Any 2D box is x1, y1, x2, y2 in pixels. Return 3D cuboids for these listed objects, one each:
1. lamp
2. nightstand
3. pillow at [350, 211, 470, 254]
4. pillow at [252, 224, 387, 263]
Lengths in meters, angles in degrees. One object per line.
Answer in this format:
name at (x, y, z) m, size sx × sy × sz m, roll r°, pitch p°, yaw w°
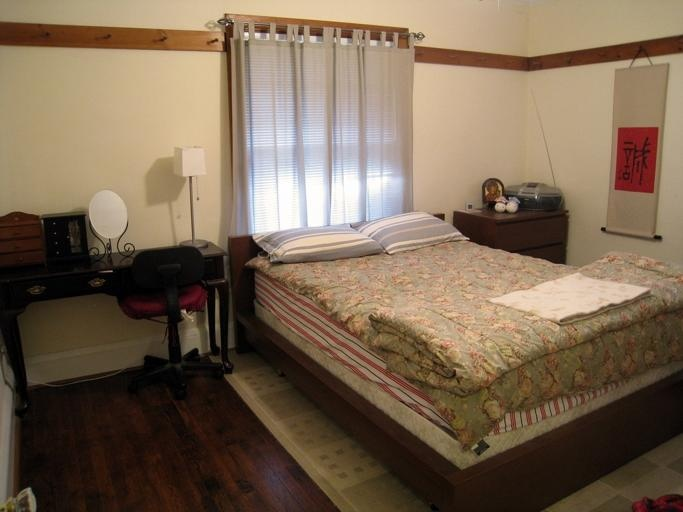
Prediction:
lamp at (-1.102, -0.432, 3.693) m, size 0.236 × 0.729 × 0.370 m, roll -6°, pitch 14°, yaw -14°
nightstand at (1.695, -0.102, 4.838) m, size 0.822 × 0.696 × 0.444 m, roll -9°, pitch 17°, yaw -19°
pillow at (0.579, -0.198, 4.086) m, size 0.503 × 0.131 × 0.452 m, roll -11°, pitch 23°, yaw -21°
pillow at (-0.220, -0.125, 3.788) m, size 0.524 × 0.130 × 0.401 m, roll -8°, pitch 27°, yaw -18°
